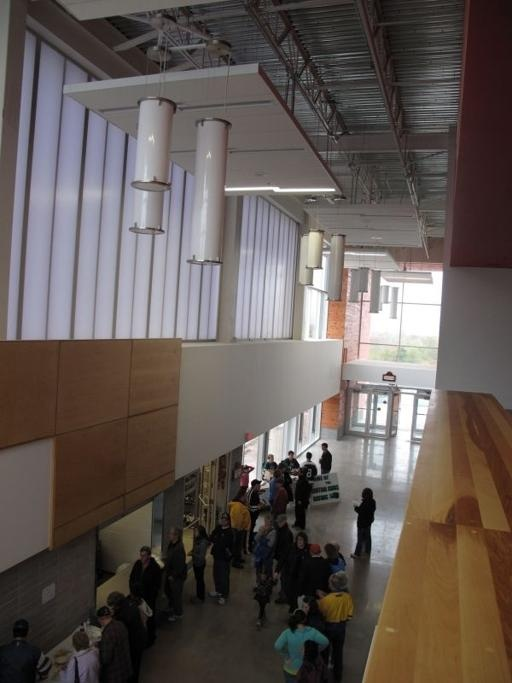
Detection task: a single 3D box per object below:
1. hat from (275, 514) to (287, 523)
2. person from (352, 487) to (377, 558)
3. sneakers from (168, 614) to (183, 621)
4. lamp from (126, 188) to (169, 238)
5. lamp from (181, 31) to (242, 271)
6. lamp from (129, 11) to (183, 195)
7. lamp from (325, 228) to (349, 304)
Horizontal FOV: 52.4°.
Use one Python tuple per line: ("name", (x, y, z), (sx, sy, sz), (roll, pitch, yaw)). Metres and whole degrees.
("hat", (0.341, 2.324, 6.891), (0.122, 0.164, 0.132), (3, 2, 22))
("person", (1.825, 2.976, 8.783), (0.328, 1.173, 1.025), (5, 1, 14))
("sneakers", (-0.966, 3.294, 6.226), (0.150, 0.067, 0.059), (14, -18, -17))
("lamp", (-0.753, -0.904, 3.618), (0.213, 0.256, 0.175), (5, 1, -15))
("lamp", (-0.311, -1.002, 3.476), (0.227, 1.176, 0.228), (5, 1, -8))
("lamp", (-0.621, -1.198, 3.162), (0.221, 0.701, 0.198), (4, 1, -16))
("lamp", (1.465, -1.368, 9.687), (0.330, 1.240, 0.348), (2, 4, -19))
